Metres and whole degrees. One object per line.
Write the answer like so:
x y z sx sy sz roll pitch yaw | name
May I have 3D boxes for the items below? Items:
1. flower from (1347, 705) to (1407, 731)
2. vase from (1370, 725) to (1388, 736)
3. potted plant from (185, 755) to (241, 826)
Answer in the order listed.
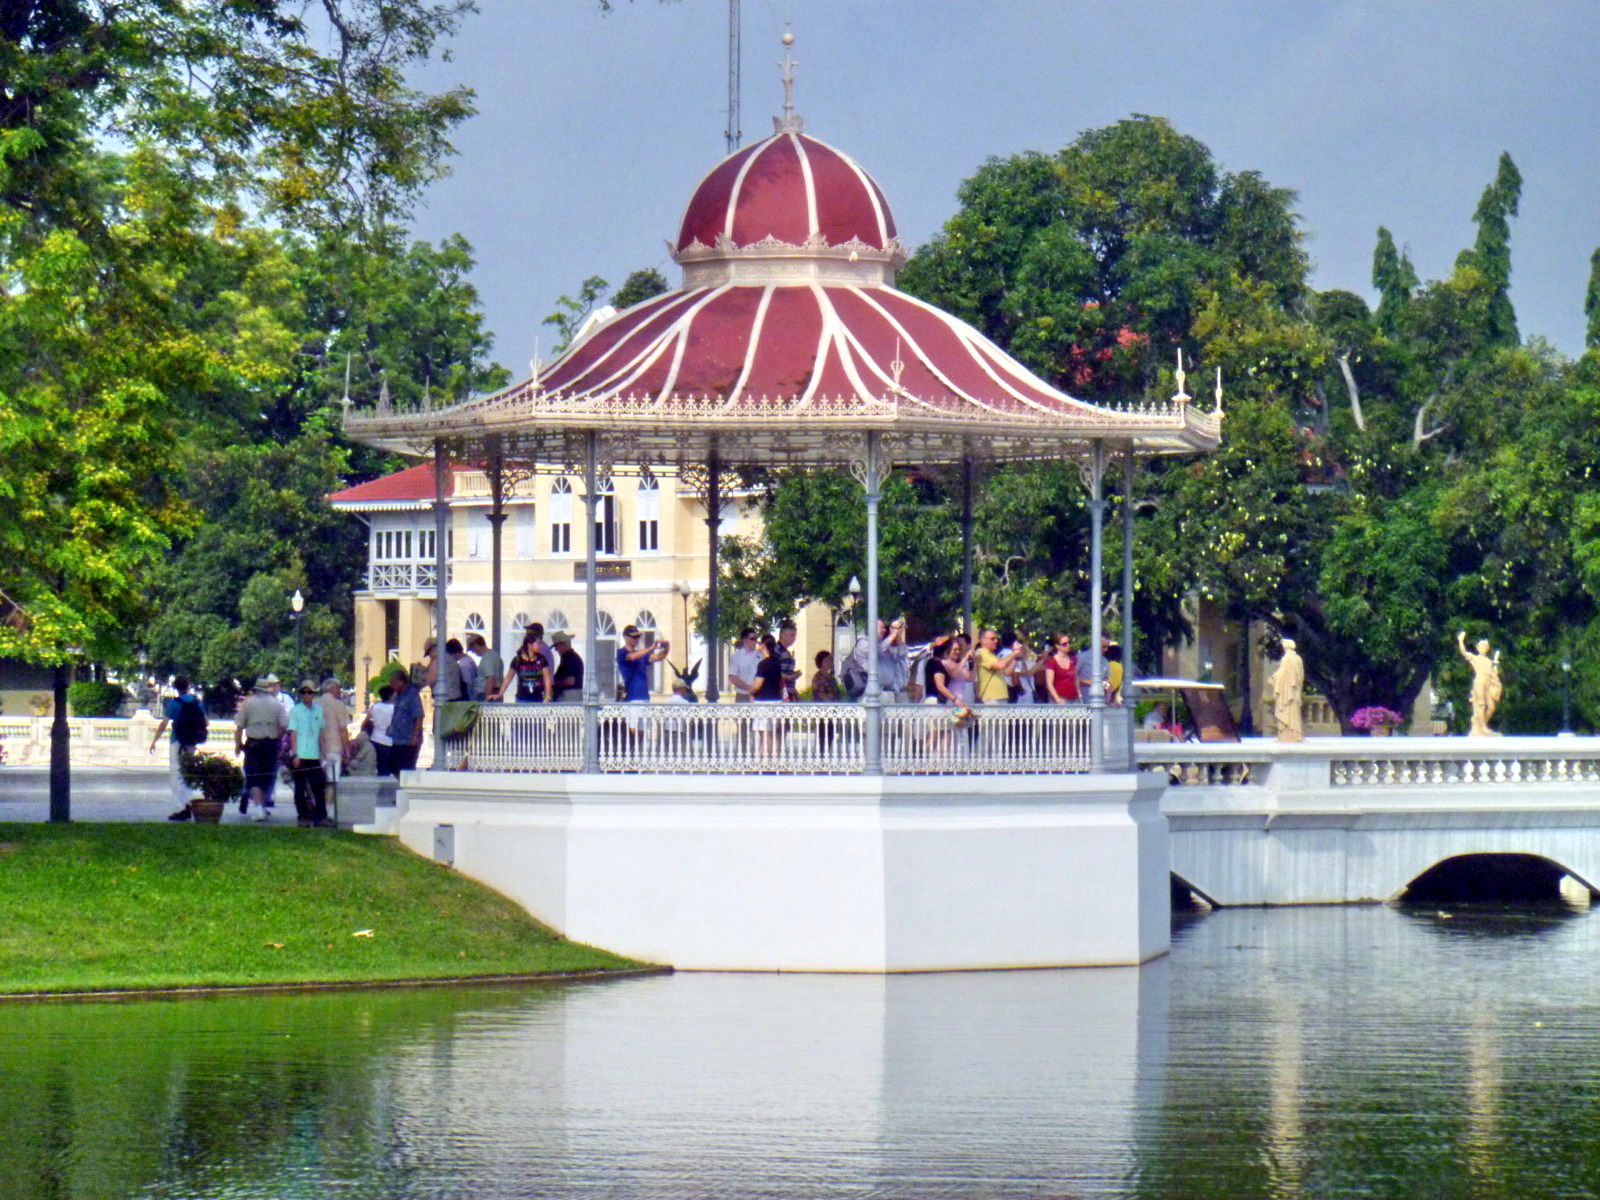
13.555 2.882 93.965 0.703 0.562 0.693 -3 6 -34 | flower
13.265 3.040 91.639 0.294 0.342 0.324 0 -8 6 | vase
-8.744 2.807 59.013 0.883 1.171 0.854 2 -5 -4 | potted plant
